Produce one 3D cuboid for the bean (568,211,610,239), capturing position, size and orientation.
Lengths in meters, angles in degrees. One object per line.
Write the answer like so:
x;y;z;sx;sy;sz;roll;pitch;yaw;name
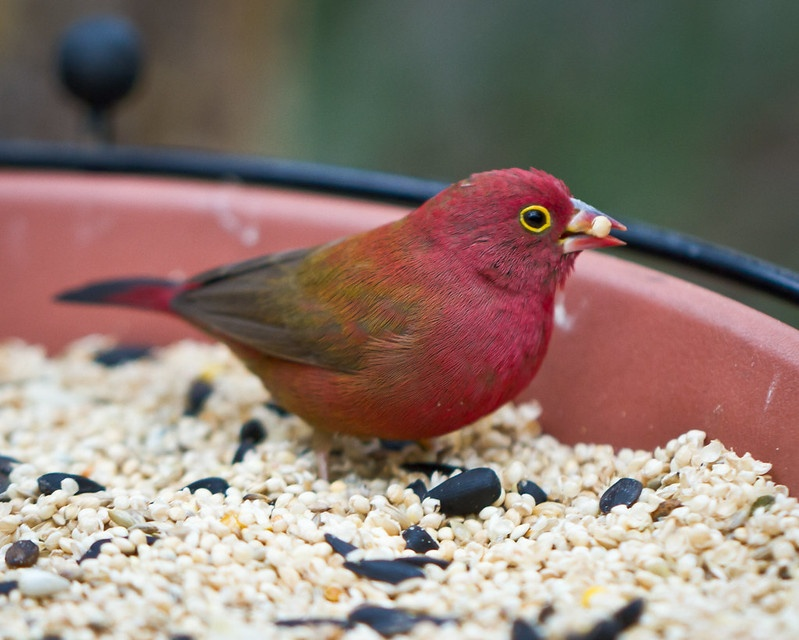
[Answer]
0.529;-0.262;2.355;0.119;0.069;0.037;13;28;9;bean
